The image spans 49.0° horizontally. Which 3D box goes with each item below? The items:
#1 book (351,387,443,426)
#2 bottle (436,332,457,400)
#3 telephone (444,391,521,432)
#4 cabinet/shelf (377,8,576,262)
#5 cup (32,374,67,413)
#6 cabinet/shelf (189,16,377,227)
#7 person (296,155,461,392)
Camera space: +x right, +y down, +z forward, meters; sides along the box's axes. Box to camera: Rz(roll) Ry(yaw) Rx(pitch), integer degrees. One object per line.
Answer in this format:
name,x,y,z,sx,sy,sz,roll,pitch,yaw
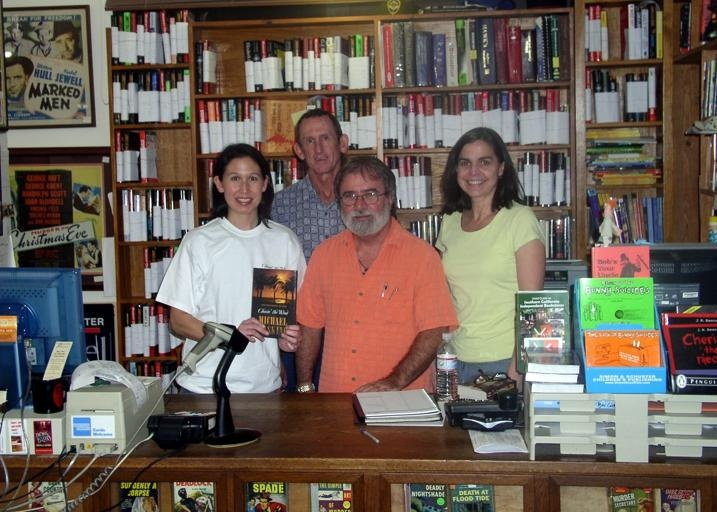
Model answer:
book,0.184,0.708,3.729,0.414,0.108,0.280,-3,3,-1
bottle,0.427,0.530,3.850,0.107,0.312,0.214,-3,3,4
telephone,0.577,0.699,3.587,0.241,0.111,0.190,0,3,3
cabinet/shelf,0.823,-0.855,5.214,1.687,1.994,0.559,0,7,10
cup,-1.393,0.628,3.598,0.154,0.134,0.123,0,0,-1
cabinet/shelf,-0.486,-0.907,5.306,1.512,1.471,0.465,1,2,3
person,0.060,0.092,4.141,0.881,1.233,0.550,-3,3,6
